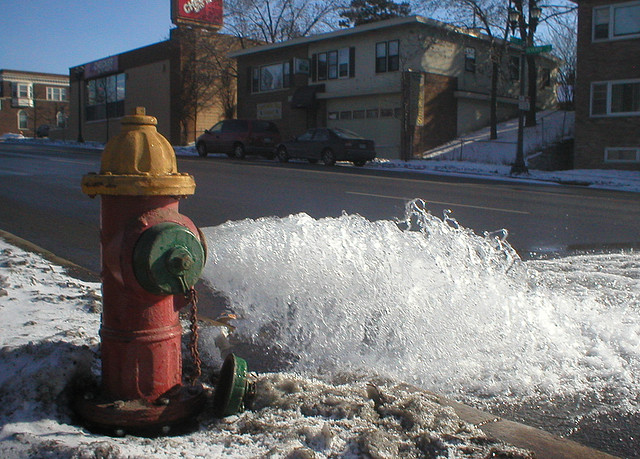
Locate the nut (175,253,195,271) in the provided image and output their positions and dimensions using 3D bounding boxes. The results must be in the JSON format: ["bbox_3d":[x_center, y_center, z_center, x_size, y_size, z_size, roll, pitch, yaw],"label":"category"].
[{"bbox_3d":[-0.799,0.183,3.813,0.083,0.098,0.089,-12,-28,43],"label":"nut"}]

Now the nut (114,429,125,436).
[{"bbox_3d":[-1.169,1.193,3.783,0.032,0.028,0.034,2,1,3],"label":"nut"}]

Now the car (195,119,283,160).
[{"bbox_3d":[-3.327,-3.626,26.254,2.927,1.274,1.676,14,17,40],"label":"car"}]

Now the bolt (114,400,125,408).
[{"bbox_3d":[-1.184,1.034,3.833,0.058,0.021,0.083,-2,10,-22],"label":"bolt"}]

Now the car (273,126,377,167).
[{"bbox_3d":[0.148,-3.015,23.381,3.500,1.263,0.995,10,11,39],"label":"car"}]

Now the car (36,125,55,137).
[{"bbox_3d":[-27.368,-9.770,64.452,1.205,1.249,6.650,-2,10,-22],"label":"car"}]

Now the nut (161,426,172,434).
[{"bbox_3d":[-0.907,1.194,3.841,0.063,0.036,0.029,1,8,-7],"label":"nut"}]

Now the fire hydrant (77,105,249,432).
[{"bbox_3d":[-0.980,0.224,3.950,0.899,1.904,0.563,0,7,-12],"label":"fire hydrant"}]
